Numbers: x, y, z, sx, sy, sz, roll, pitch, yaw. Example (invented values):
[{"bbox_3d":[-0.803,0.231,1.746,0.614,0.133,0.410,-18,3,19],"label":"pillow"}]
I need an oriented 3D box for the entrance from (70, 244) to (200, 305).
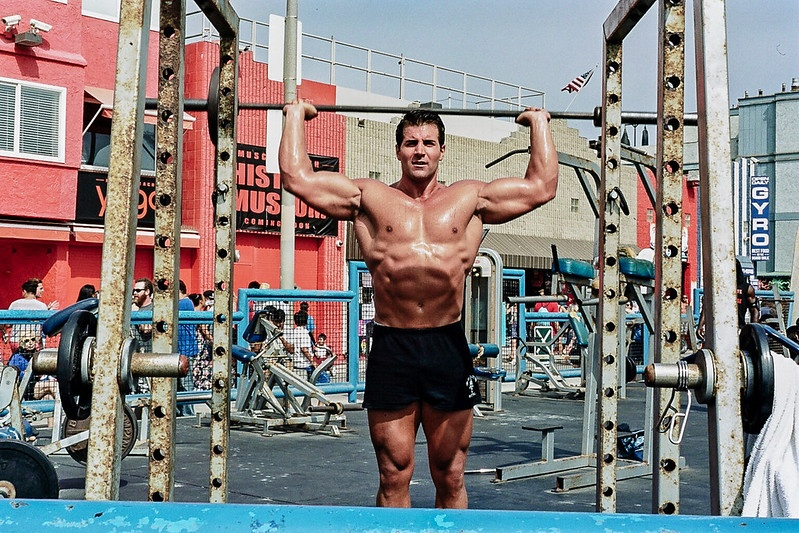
[{"bbox_3d":[-5.079,-0.087,21.893,2.674,0.216,1.422,0,24,47],"label":"entrance"}]

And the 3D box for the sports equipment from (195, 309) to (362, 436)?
[{"bbox_3d":[-1.321,1.213,12.970,1.118,1.232,1.676,3,-4,-38],"label":"sports equipment"}]

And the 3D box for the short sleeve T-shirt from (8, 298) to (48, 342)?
[{"bbox_3d":[-3.988,0.595,12.145,0.340,0.470,0.222,2,-7,-23],"label":"short sleeve T-shirt"}]

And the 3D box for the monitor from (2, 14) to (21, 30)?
[{"bbox_3d":[-6.664,-4.265,19.485,0.319,0.308,0.366,2,-8,-21],"label":"monitor"}]

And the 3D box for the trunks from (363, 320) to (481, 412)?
[{"bbox_3d":[0.134,0.671,7.351,0.884,0.706,0.486,0,-5,-4],"label":"trunks"}]

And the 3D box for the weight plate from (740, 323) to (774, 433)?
[{"bbox_3d":[2.089,0.656,6.598,0.187,0.632,0.309,-2,-7,18],"label":"weight plate"}]

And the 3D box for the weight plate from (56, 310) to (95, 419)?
[{"bbox_3d":[-1.897,0.577,6.638,0.218,0.634,0.398,2,-7,-17],"label":"weight plate"}]

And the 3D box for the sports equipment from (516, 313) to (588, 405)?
[{"bbox_3d":[2.369,1.332,17.090,0.979,1.340,0.748,4,-2,23],"label":"sports equipment"}]
